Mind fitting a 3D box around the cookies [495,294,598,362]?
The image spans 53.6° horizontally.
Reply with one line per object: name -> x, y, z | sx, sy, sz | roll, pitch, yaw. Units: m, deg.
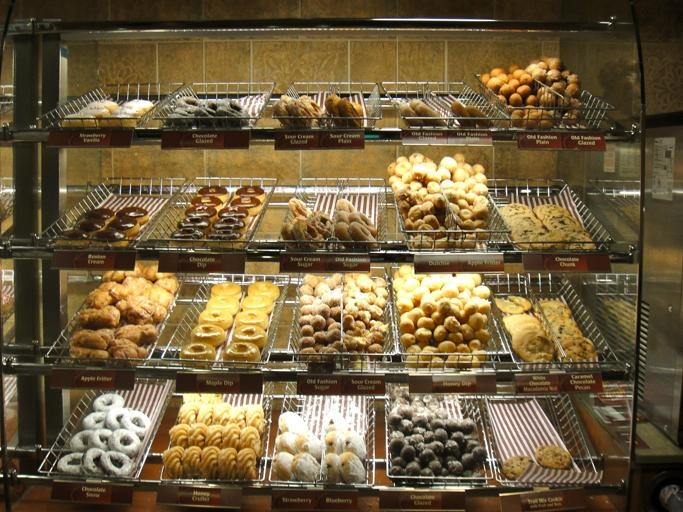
cookies -> 1.075, 0.384, 3.552 | 0.238, 0.074, 0.424 | -1, 25, 0

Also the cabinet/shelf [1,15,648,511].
cabinet/shelf -> -0.081, -0.304, 4.217 | 3.739, 2.890, 2.262 | 0, 13, 1

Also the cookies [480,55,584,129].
cookies -> 1.016, -0.825, 3.558 | 0.403, 0.455, 0.100 | -6, -31, 2

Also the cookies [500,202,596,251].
cookies -> 1.058, -0.142, 3.477 | 0.253, 0.042, 0.308 | -1, 36, -4

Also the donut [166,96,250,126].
donut -> -0.664, -0.714, 3.366 | 0.254, 0.094, 0.211 | -3, 18, -7

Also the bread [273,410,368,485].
bread -> -0.109, 0.973, 3.466 | 0.477, 0.272, 0.350 | -1, 0, 3

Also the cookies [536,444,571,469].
cookies -> 1.090, 1.032, 3.480 | 0.103, 0.030, 0.112 | 4, 16, 12

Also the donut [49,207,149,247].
donut -> -1.205, -0.166, 3.462 | 0.244, 0.057, 0.262 | -1, 27, 4

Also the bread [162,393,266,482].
bread -> -0.653, 0.940, 3.559 | 0.475, 0.332, 0.502 | -1, 0, -1

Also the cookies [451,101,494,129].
cookies -> 0.642, -0.695, 3.315 | 0.201, 0.146, 0.130 | -1, 0, 11

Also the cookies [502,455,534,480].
cookies -> 0.888, 1.070, 3.435 | 0.176, 0.059, 0.109 | -2, 1, -38

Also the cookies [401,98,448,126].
cookies -> 0.392, -0.711, 3.333 | 0.153, 0.056, 0.170 | 6, 35, -10

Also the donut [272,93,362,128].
donut -> -0.108, -0.722, 3.373 | 0.454, 0.222, 0.317 | -1, 0, 0
